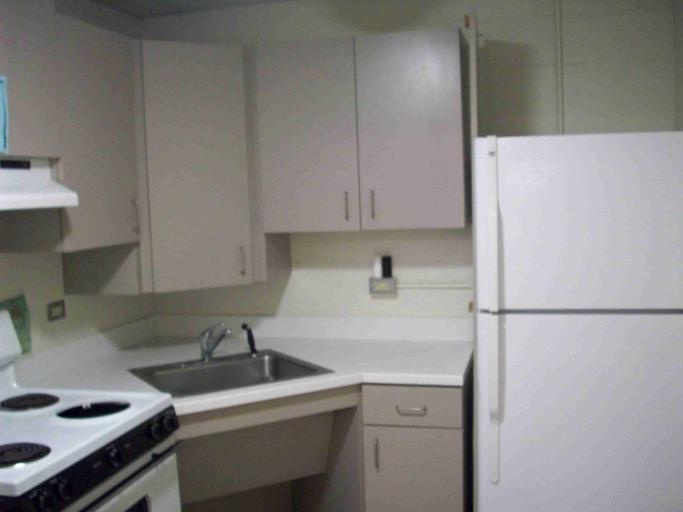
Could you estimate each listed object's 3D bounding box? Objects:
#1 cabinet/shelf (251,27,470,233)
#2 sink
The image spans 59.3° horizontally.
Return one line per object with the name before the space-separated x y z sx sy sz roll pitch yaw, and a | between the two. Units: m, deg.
cabinet/shelf | 0.100 -0.594 2.865 0.918 0.869 0.365 0 2 11
sink | -0.547 0.567 2.905 0.847 0.189 0.355 0 13 -7
